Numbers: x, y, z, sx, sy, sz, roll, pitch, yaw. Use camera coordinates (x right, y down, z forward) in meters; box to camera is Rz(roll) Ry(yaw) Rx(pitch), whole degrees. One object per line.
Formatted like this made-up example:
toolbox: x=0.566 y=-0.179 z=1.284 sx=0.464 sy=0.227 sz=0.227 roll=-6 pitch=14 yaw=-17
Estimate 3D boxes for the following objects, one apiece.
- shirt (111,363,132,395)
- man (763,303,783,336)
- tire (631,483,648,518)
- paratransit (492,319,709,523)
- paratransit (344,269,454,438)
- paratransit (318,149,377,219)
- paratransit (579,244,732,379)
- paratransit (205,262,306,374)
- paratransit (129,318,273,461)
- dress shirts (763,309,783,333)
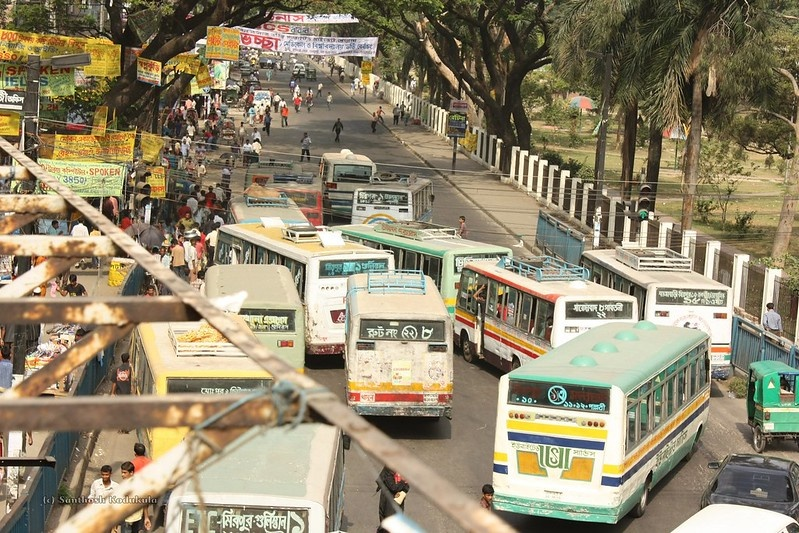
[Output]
shirt: x=-6.936 y=2.858 z=26.803 sx=0.477 sy=0.964 sz=1.113 roll=-1 pitch=14 yaw=-15
man: x=12.162 y=1.919 z=34.640 sx=0.350 sy=1.096 sz=0.250 roll=-6 pitch=3 yaw=22
tire: x=5.494 y=5.317 z=24.439 sx=0.303 sy=0.989 sz=0.923 roll=5 pitch=5 yaw=14
paratransit: x=5.239 y=3.734 z=26.428 sx=3.225 sy=4.173 sz=8.993 roll=11 pitch=16 yaw=32
paratransit: x=-0.124 y=2.092 z=30.513 sx=2.726 sy=3.537 sz=6.363 roll=2 pitch=8 yaw=-7
paratransit: x=-3.202 y=-3.664 z=52.349 sx=2.638 sy=3.388 sz=5.946 roll=2 pitch=2 yaw=-19
paratransit: x=8.330 y=0.981 z=34.379 sx=2.169 sy=2.817 sz=6.392 roll=2 pitch=11 yaw=-9
paratransit: x=-3.926 y=1.477 z=30.253 sx=2.372 sy=2.144 sz=4.903 roll=1 pitch=24 yaw=-12
paratransit: x=-3.233 y=1.976 z=17.443 sx=1.238 sy=1.404 sz=3.652 roll=1 pitch=9 yaw=-15
dress shirts: x=12.151 y=1.770 z=34.735 sx=0.647 sy=0.682 sz=0.498 roll=-3 pitch=14 yaw=-22
